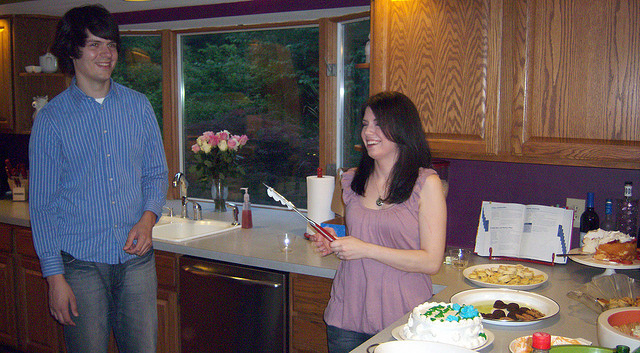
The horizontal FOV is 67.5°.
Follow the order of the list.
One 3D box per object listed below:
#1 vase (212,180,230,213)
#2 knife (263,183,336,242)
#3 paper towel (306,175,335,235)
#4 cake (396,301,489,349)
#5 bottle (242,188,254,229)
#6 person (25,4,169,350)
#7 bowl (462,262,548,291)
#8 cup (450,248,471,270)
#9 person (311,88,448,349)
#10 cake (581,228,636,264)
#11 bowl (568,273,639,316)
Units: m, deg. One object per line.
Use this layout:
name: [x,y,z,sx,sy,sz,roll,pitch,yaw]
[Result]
vase: [-0.968,0.188,4.610,0.155,0.312,0.198,-2,5,-9]
knife: [-0.160,0.306,3.904,0.106,0.623,0.045,-34,19,53]
paper towel: [0.006,0.184,3.904,0.228,0.359,0.195,-1,5,-1]
cake: [0.620,0.748,2.423,0.464,0.186,0.169,0,5,9]
bottle: [-0.643,0.277,4.191,0.097,0.338,0.195,-2,5,-8]
person: [-1.378,0.027,3.007,0.792,2.167,0.362,-4,6,-29]
bowl: [1.171,0.635,3.054,0.512,0.111,0.353,-2,4,-18]
cup: [0.959,0.570,3.278,0.153,0.096,0.128,-3,4,0]
person: [0.343,0.270,2.810,0.766,1.527,0.440,0,6,13]
cake: [1.847,0.442,3.040,0.250,0.135,0.253,0,0,44]
bowl: [1.635,0.664,2.696,0.278,0.092,0.274,-15,8,2]
